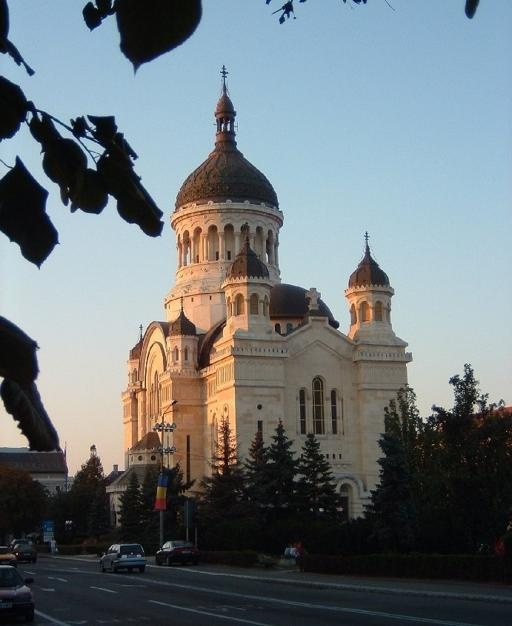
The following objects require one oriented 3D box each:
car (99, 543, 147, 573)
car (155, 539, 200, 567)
[{"bbox_3d":[-5.025,9.245,38.868,0.970,0.826,2.138,3,-11,-19],"label":"car"},{"bbox_3d":[-3.229,10.045,42.997,1.329,1.049,3.141,1,-11,-9],"label":"car"}]
